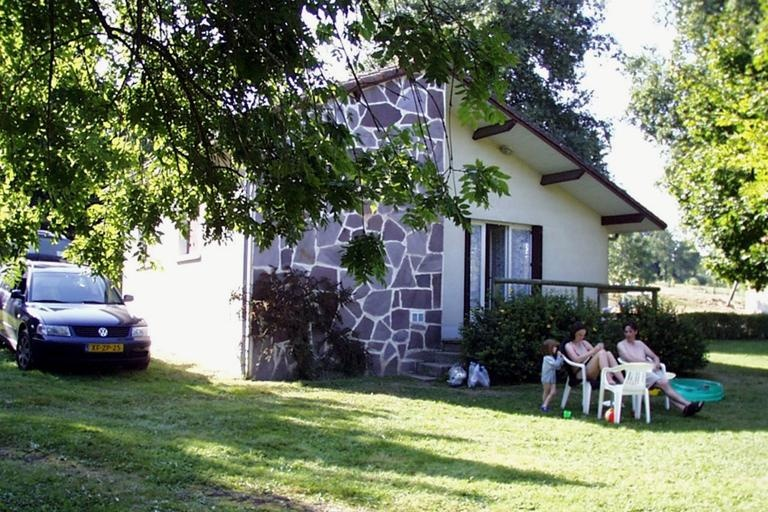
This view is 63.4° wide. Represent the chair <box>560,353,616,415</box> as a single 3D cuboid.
[{"bbox_3d":[3.716,2.373,11.811,0.903,1.342,1.009,-5,-6,42],"label":"chair"}]

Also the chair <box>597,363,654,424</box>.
[{"bbox_3d":[4.258,2.371,10.828,0.752,1.068,0.745,2,-2,-10],"label":"chair"}]

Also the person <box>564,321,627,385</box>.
[{"bbox_3d":[3.916,1.801,11.429,0.711,1.249,1.109,3,-13,-38],"label":"person"}]

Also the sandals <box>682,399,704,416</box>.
[{"bbox_3d":[5.369,2.671,10.812,0.187,0.167,0.356,-32,-1,-45],"label":"sandals"}]

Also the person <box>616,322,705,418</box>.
[{"bbox_3d":[5.039,2.044,11.383,0.754,1.153,1.949,-4,11,-14],"label":"person"}]

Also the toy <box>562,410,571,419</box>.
[{"bbox_3d":[3.187,2.751,10.752,0.128,0.121,0.134,1,-6,-3],"label":"toy"}]

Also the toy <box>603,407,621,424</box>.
[{"bbox_3d":[3.891,2.748,10.614,0.241,0.243,0.187,10,-17,-43],"label":"toy"}]

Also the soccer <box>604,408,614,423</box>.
[{"bbox_3d":[3.864,2.741,10.613,0.163,0.188,0.152,0,26,-36],"label":"soccer"}]
